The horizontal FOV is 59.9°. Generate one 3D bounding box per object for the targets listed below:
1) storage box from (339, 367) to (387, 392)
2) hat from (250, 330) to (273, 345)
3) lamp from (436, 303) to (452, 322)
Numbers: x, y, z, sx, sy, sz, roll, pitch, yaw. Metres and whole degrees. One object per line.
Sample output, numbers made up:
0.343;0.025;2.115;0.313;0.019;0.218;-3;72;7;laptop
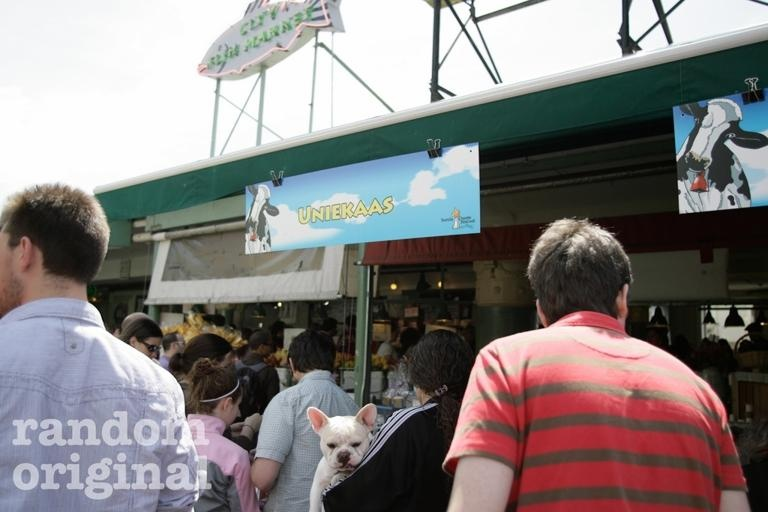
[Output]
-0.230;1.483;8.149;0.456;0.290;0.461;6;-10;-20;storage box
-1.328;0.909;7.267;0.189;0.186;0.150;-13;25;-21;hat
0.903;0.814;9.953;0.265;0.272;0.273;0;-11;6;lamp
